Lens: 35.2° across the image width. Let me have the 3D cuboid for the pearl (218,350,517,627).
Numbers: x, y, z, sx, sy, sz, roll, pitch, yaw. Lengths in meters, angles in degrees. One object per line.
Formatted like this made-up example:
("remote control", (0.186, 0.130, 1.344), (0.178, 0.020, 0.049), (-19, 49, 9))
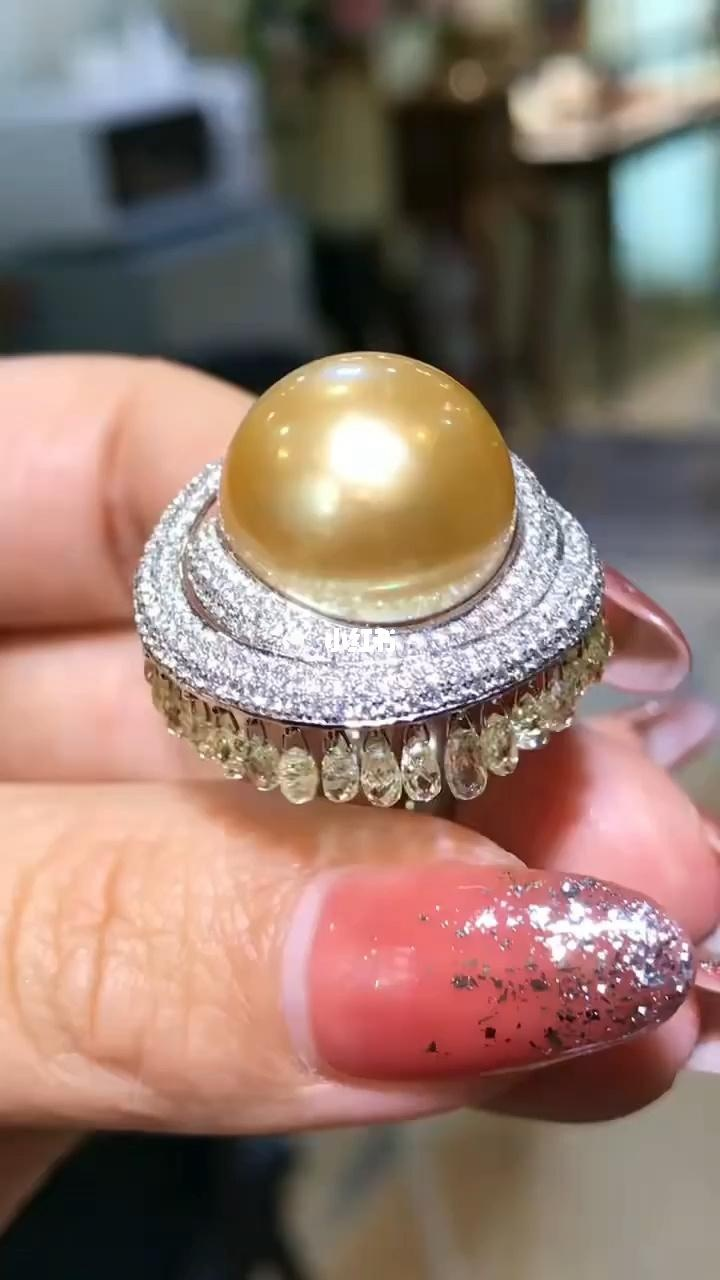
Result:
("pearl", (0.001, -0.053, 0.396), (0.101, 0.074, 0.072), (-4, 32, 7))
